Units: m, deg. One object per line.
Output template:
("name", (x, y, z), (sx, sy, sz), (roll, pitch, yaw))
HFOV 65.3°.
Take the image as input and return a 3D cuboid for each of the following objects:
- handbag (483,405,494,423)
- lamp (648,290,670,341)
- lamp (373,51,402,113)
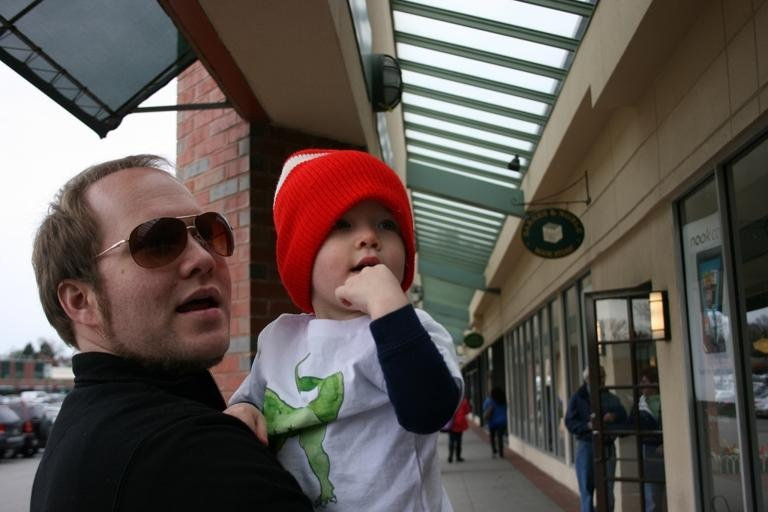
("handbag", (2.689, 4.029, 15.354), (0.229, 0.445, 0.570), (-3, -18, 10))
("lamp", (3.036, 0.665, 6.629), (0.151, 0.529, 0.376), (-3, -17, 10))
("lamp", (0.016, -1.827, 6.123), (0.352, 0.731, 0.332), (4, -17, -12))
